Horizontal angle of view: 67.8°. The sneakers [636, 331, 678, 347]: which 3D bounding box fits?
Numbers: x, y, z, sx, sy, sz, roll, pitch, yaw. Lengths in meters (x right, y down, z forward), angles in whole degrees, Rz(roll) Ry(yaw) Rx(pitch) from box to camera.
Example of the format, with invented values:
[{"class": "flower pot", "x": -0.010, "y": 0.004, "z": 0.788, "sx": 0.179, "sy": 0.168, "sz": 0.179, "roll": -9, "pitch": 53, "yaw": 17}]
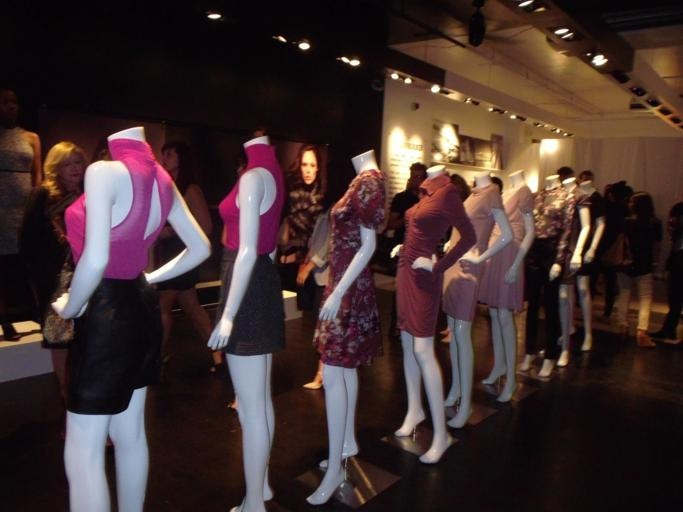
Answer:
[{"class": "sneakers", "x": 4.132, "y": 1.095, "z": 6.703, "sx": 0.418, "sy": 0.200, "sz": 0.141, "roll": -6, "pitch": 3, "yaw": 7}]
